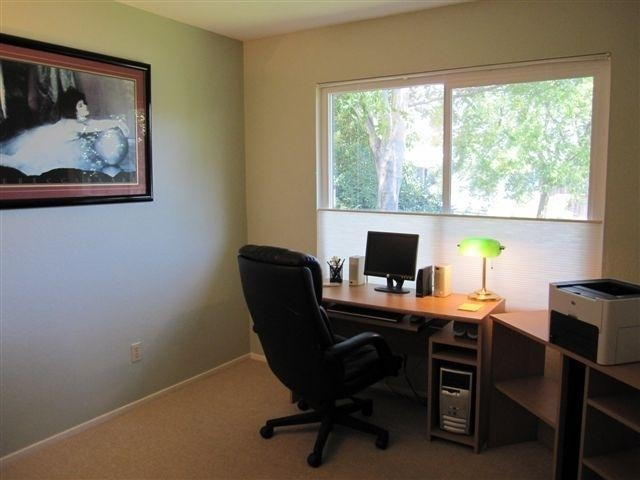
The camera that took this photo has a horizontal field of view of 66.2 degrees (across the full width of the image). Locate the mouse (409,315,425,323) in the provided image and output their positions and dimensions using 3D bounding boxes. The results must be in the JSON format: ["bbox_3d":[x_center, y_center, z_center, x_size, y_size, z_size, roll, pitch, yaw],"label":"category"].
[{"bbox_3d":[0.712,0.590,3.602,0.053,0.037,0.100,1,4,31],"label":"mouse"}]

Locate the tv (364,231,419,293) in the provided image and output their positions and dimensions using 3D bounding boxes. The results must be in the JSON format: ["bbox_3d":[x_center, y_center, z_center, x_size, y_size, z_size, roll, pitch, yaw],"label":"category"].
[{"bbox_3d":[0.601,0.179,4.024,0.467,0.510,0.194,-1,-7,33],"label":"tv"}]

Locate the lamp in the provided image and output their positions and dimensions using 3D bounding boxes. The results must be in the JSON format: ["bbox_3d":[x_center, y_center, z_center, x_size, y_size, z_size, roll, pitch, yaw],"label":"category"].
[{"bbox_3d":[1.252,0.196,3.891,0.447,0.609,0.371,4,7,41],"label":"lamp"}]

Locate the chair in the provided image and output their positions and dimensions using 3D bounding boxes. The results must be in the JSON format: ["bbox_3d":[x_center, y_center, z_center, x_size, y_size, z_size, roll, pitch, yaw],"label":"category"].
[{"bbox_3d":[-0.021,0.784,3.357,0.973,1.509,0.618,-3,12,-19],"label":"chair"}]

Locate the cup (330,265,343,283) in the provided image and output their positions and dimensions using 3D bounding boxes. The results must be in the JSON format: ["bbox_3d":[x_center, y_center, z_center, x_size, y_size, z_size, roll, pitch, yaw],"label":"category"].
[{"bbox_3d":[0.145,0.304,4.252,0.120,0.220,0.126,1,1,0],"label":"cup"}]
